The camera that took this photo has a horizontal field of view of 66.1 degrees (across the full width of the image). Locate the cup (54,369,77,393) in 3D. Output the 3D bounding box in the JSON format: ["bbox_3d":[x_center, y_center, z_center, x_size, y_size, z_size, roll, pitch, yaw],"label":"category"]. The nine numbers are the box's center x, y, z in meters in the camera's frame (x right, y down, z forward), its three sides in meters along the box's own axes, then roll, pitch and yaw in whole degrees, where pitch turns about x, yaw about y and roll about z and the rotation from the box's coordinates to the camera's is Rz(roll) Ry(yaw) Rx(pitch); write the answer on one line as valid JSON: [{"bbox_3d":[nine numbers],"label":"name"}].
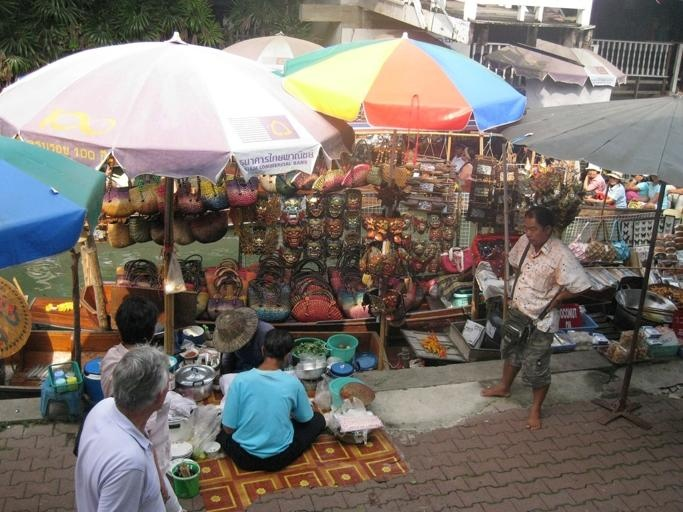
[{"bbox_3d":[-2.572,1.156,4.903,0.158,0.076,0.233,-1,11,-23],"label":"cup"}]

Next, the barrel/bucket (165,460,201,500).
[{"bbox_3d":[-1.258,1.762,4.183,0.247,0.193,0.258,1,18,0],"label":"barrel/bucket"}]

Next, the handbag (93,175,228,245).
[{"bbox_3d":[-2.117,-0.507,6.261,1.105,0.445,0.898,-1,8,-5],"label":"handbag"}]

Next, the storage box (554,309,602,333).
[{"bbox_3d":[3.043,0.834,6.801,0.623,0.206,0.419,1,5,4],"label":"storage box"}]

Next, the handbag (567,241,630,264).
[{"bbox_3d":[4.024,-0.044,8.149,0.844,0.350,0.630,1,-1,-18],"label":"handbag"}]

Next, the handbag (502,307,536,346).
[{"bbox_3d":[1.742,0.718,5.217,0.206,0.362,0.341,-9,27,-37],"label":"handbag"}]

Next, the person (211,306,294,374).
[{"bbox_3d":[-0.939,0.790,5.170,0.550,0.772,0.311,2,-18,19],"label":"person"}]

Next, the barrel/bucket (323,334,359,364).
[{"bbox_3d":[0.001,1.067,6.146,0.308,0.237,0.328,0,27,0],"label":"barrel/bucket"}]

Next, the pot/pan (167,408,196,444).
[{"bbox_3d":[-1.418,1.511,4.621,0.211,0.155,0.206,1,1,12],"label":"pot/pan"}]

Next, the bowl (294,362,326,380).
[{"bbox_3d":[-0.329,1.229,5.660,0.217,0.112,0.219,1,6,0],"label":"bowl"}]

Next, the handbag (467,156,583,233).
[{"bbox_3d":[2.618,-0.833,7.318,1.240,0.715,1.219,2,33,5],"label":"handbag"}]

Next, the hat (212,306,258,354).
[{"bbox_3d":[-0.998,0.683,4.993,0.412,0.151,0.410,6,57,30],"label":"hat"}]

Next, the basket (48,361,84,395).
[{"bbox_3d":[-2.617,1.147,4.957,0.231,0.113,0.344,-4,25,-36],"label":"basket"}]

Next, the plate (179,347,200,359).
[{"bbox_3d":[-1.652,1.058,5.701,0.131,0.047,0.112,0,16,-7],"label":"plate"}]

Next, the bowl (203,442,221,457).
[{"bbox_3d":[-1.124,1.672,4.556,0.115,0.055,0.112,0,30,0],"label":"bowl"}]

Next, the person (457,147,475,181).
[{"bbox_3d":[2.295,-1.704,9.837,0.386,0.602,0.705,2,32,9],"label":"person"}]

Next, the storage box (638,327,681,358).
[{"bbox_3d":[3.922,1.055,6.495,0.358,0.178,0.459,-3,13,-1],"label":"storage box"}]

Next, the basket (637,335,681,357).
[{"bbox_3d":[3.902,1.103,6.413,0.387,0.149,0.320,-4,10,-8],"label":"basket"}]

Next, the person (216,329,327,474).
[{"bbox_3d":[-0.639,1.255,4.657,1.109,1.064,0.807,2,13,-10],"label":"person"}]

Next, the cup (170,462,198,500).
[{"bbox_3d":[-1.245,1.813,4.216,0.222,0.171,0.229,-3,6,0],"label":"cup"}]
